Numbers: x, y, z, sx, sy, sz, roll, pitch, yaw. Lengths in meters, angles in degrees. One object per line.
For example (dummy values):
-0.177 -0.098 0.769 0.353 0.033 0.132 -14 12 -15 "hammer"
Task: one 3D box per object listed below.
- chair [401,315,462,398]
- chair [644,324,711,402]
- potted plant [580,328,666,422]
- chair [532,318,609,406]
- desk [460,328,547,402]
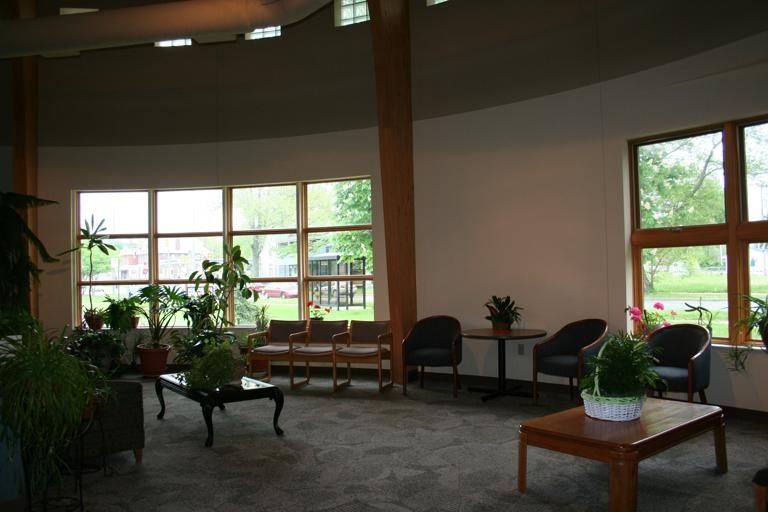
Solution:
0.844 1.581 9.126 0.874 1.100 0.910 -4 -6 25 "chair"
3.877 1.517 7.492 0.834 1.055 0.810 -4 4 -44 "chair"
2.440 1.162 5.969 0.715 0.790 0.696 14 -24 -19 "potted plant"
2.712 1.534 8.173 1.006 1.127 1.030 0 -3 11 "chair"
1.839 1.739 8.757 1.339 1.010 1.278 8 -9 -44 "desk"
